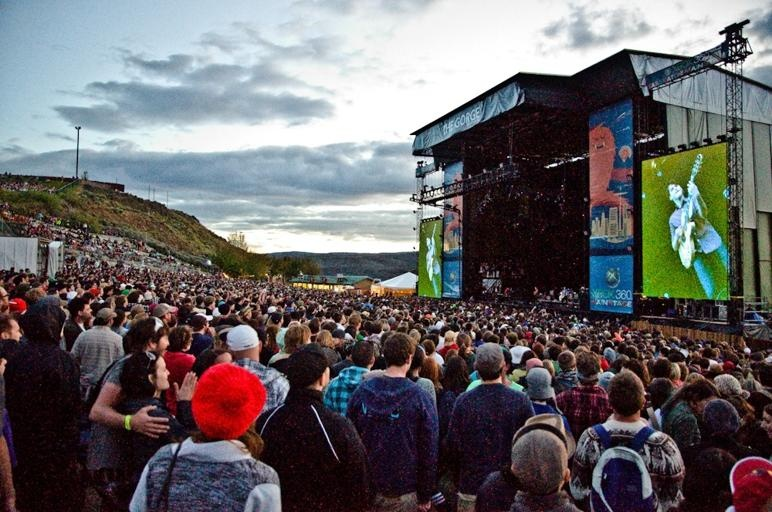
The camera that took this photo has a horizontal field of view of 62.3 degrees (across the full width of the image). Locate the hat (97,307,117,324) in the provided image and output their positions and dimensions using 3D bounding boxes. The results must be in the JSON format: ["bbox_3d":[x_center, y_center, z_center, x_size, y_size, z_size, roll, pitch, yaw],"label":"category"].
[{"bbox_3d":[-4.222,0.894,9.705,0.193,0.140,0.268,9,23,4],"label":"hat"}]

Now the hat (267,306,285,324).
[{"bbox_3d":[-2.169,1.142,12.597,0.328,0.262,0.531,12,-8,2],"label":"hat"}]

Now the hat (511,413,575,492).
[{"bbox_3d":[1.766,2.171,7.194,0.627,0.865,0.471,2,-6,19],"label":"hat"}]

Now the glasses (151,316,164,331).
[{"bbox_3d":[-3.075,0.923,8.616,0.136,0.188,0.170,14,13,31],"label":"glasses"}]

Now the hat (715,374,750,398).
[{"bbox_3d":[4.851,1.825,9.014,0.488,0.229,0.392,7,-3,45],"label":"hat"}]

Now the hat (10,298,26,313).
[{"bbox_3d":[-6.425,0.848,11.171,0.250,0.241,0.592,3,-4,-29],"label":"hat"}]

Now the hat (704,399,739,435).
[{"bbox_3d":[4.250,2.073,8.080,0.293,0.355,0.376,21,-34,-29],"label":"hat"}]

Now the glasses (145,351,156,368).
[{"bbox_3d":[-2.863,1.234,7.815,0.118,0.169,0.060,3,-5,38],"label":"glasses"}]

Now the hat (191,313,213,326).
[{"bbox_3d":[-3.095,1.067,10.662,0.166,0.135,0.259,7,18,15],"label":"hat"}]

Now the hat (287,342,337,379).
[{"bbox_3d":[-0.845,1.315,7.936,0.476,0.248,0.665,0,0,14],"label":"hat"}]
